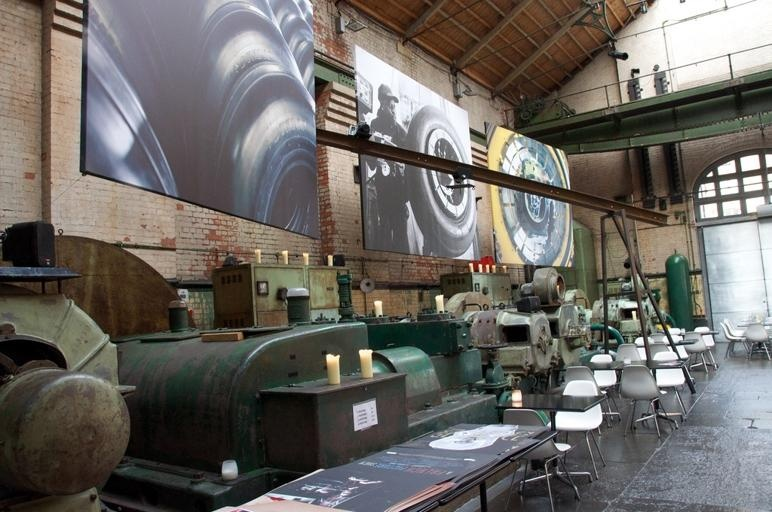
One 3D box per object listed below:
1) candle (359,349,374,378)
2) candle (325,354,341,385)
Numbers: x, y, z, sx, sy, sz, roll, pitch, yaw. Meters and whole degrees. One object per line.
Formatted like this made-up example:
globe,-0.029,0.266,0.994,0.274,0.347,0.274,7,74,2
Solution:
candle,-0.190,1.004,4.952,0.106,0.255,0.248,-3,-5,-6
candle,-0.470,1.017,4.752,0.108,0.259,0.110,-3,-6,-5
